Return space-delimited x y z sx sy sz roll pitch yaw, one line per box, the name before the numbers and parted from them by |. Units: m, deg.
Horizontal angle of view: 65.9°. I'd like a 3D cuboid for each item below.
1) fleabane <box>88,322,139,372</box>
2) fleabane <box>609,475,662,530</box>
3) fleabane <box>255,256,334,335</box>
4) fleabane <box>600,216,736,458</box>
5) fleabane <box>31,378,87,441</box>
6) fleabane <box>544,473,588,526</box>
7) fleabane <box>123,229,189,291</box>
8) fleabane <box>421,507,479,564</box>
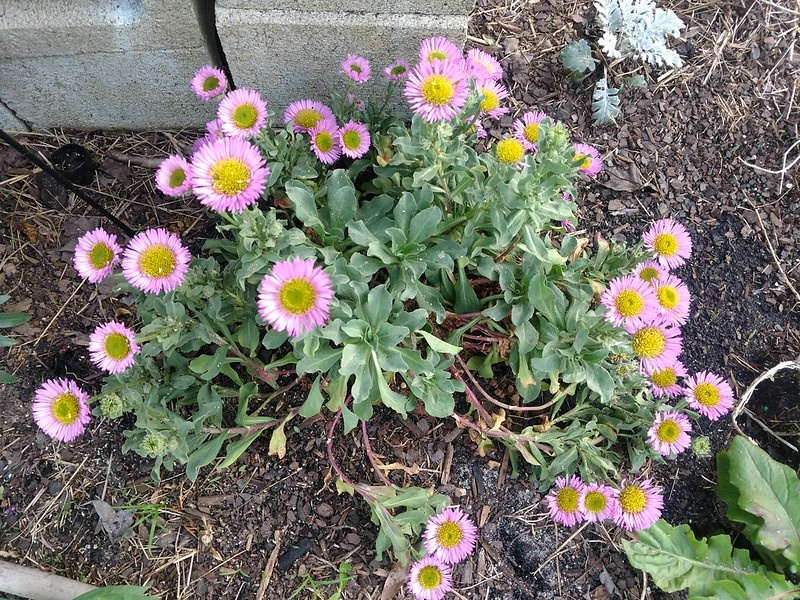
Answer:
fleabane | -1.256 0.224 2.784 0.209 0.246 0.233 8 84 0
fleabane | 1.167 1.018 3.049 0.234 0.082 0.234 -3 84 -2
fleabane | -0.405 -0.037 2.418 0.262 0.292 0.115 -6 49 -5
fleabane | 1.212 0.237 3.220 0.736 0.410 1.217 -21 101 -15
fleabane | -1.531 0.500 2.829 0.246 0.105 0.261 4 84 -1
fleabane | 0.829 0.984 3.033 0.210 0.079 0.220 -7 49 -13
fleabane | -1.052 -0.171 2.651 0.258 0.048 0.265 23 84 1
fleabane | 0.234 1.117 2.942 0.242 0.095 0.258 -29 95 -23
